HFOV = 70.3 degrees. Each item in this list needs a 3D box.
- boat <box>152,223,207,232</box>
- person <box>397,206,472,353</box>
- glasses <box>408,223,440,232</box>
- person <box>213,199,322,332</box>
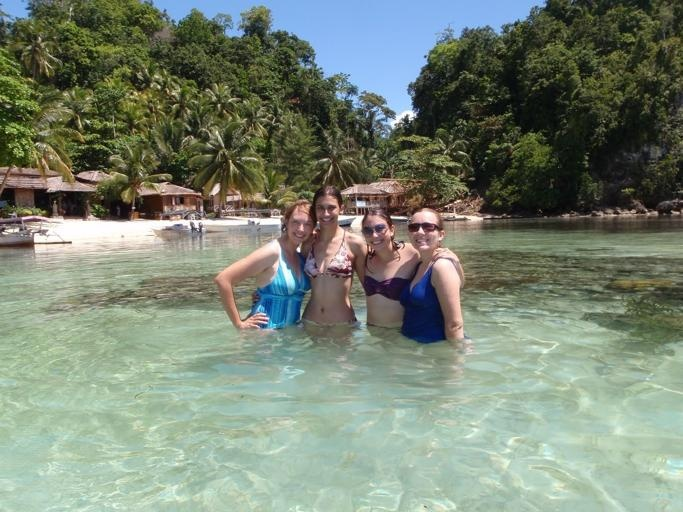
[{"bbox_3d":[-9.338,-1.644,28.536,1.578,0.596,2.705,-1,3,27],"label":"boat"},{"bbox_3d":[0.871,0.210,4.825,0.646,1.400,0.602,-3,3,14],"label":"person"},{"bbox_3d":[0.791,-0.277,4.651,0.292,0.104,0.104,-2,3,10],"label":"glasses"},{"bbox_3d":[-0.807,0.115,5.348,0.973,1.430,0.654,-4,3,-12],"label":"person"}]
